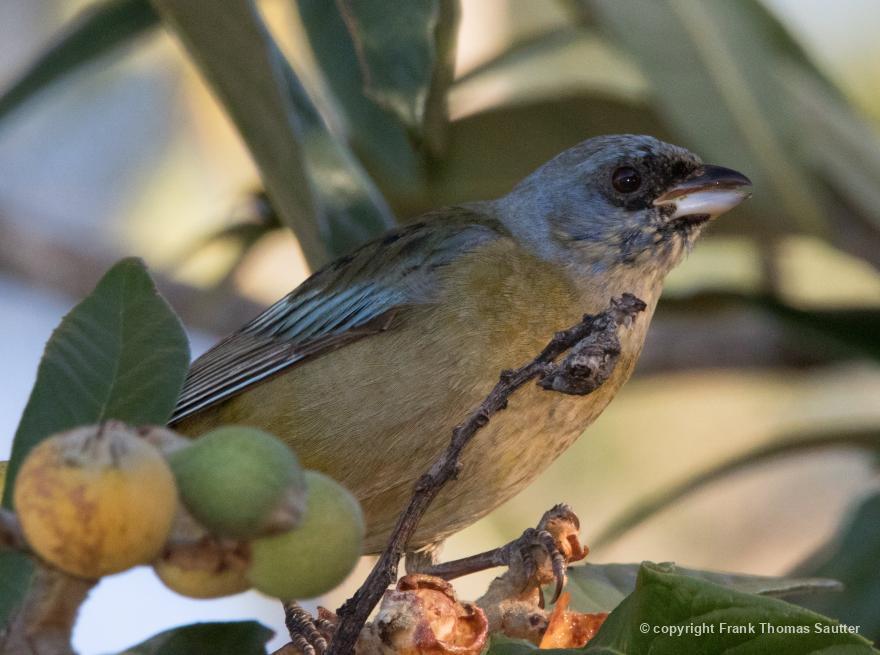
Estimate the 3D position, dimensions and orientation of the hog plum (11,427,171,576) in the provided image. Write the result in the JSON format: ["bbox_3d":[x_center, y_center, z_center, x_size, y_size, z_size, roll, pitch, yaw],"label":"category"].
[{"bbox_3d":[-0.500,0.251,1.924,0.237,0.104,0.212,-23,79,4],"label":"hog plum"}]

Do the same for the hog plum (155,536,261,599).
[{"bbox_3d":[-0.357,0.336,2.009,0.138,0.166,0.088,12,75,-9],"label":"hog plum"}]

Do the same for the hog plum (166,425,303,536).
[{"bbox_3d":[-0.304,0.228,1.982,0.228,0.169,0.156,4,103,14],"label":"hog plum"}]
